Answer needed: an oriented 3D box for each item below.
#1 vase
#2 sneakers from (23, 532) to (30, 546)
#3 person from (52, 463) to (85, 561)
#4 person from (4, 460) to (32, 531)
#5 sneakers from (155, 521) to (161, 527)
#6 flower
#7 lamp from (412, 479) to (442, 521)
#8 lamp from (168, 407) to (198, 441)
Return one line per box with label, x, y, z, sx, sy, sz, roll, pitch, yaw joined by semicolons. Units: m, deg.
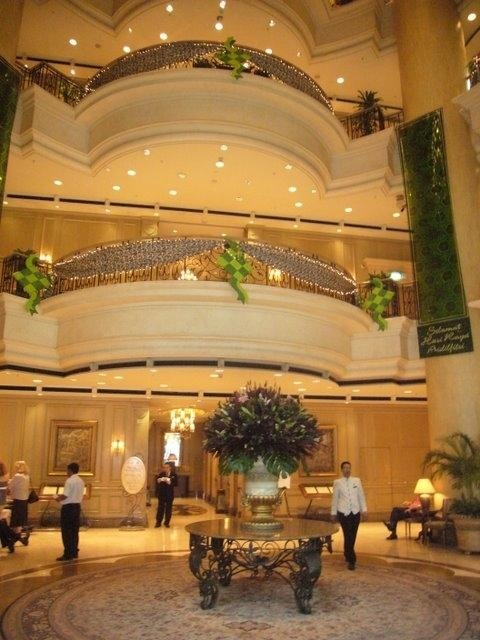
vase;0.192;1.538;3.879;0.554;0.818;0.548;1;-18;-1
sneakers;-3.939;4.055;7.973;0.092;0.181;0.588;4;-13;-21
person;-2.623;2.948;6.686;0.329;1.486;1.378;3;-13;-18
person;-4.257;3.375;8.307;0.388;1.300;1.092;6;-14;-27
sneakers;-2.002;4.953;10.537;0.138;0.126;0.253;2;-12;-12
flower;0.165;0.970;3.873;0.903;0.817;0.859;7;-15;-25
lamp;3.679;3.522;8.637;0.379;0.660;0.390;-4;-23;23
lamp;-1.837;3.324;14.051;0.801;0.914;0.844;-2;-12;4
